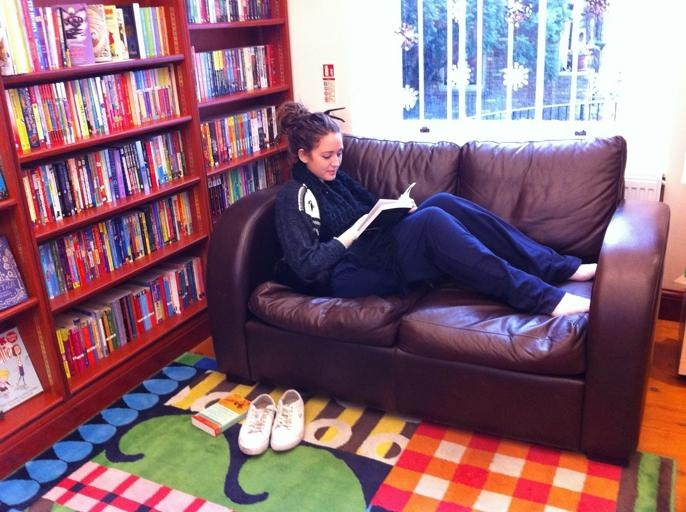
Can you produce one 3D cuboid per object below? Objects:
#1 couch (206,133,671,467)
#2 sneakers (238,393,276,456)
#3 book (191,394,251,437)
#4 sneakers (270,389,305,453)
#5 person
[{"bbox_3d":[0.459,0.120,2.517,2.010,1.187,1.049,7,23,27],"label":"couch"},{"bbox_3d":[-0.352,0.717,2.157,0.118,0.104,0.318,4,21,-1],"label":"sneakers"},{"bbox_3d":[-0.546,0.722,2.276,0.150,0.046,0.232,15,17,26],"label":"book"},{"bbox_3d":[-0.239,0.705,2.179,0.136,0.126,0.350,-2,18,0],"label":"sneakers"},{"bbox_3d":[0.313,-0.272,2.480,1.595,0.990,0.790,6,35,20],"label":"person"}]
